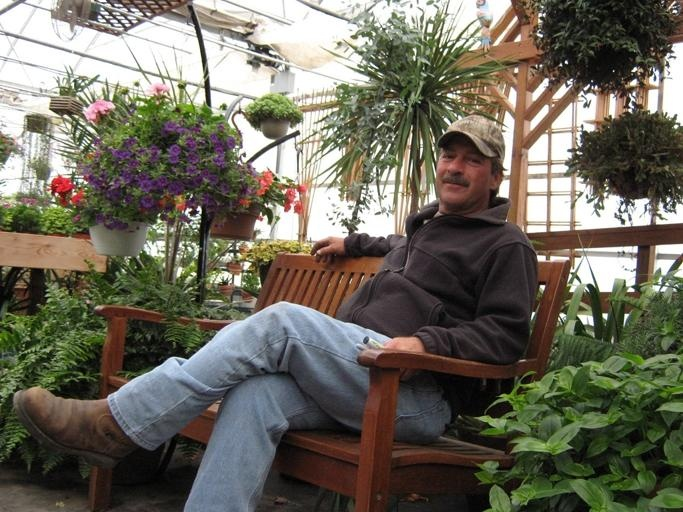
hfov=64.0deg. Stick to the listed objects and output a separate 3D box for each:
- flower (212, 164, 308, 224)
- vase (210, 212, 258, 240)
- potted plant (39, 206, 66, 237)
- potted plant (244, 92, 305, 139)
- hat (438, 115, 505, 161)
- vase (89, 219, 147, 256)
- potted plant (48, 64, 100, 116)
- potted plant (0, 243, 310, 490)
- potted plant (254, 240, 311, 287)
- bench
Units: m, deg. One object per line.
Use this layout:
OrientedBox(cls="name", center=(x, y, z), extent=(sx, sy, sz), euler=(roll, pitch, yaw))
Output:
OrientedBox(cls="flower", center=(-0.391, -0.391, 3.165), extent=(0.309, 0.158, 0.422), euler=(12, -11, 45))
OrientedBox(cls="vase", center=(-0.587, -0.152, 2.965), extent=(0.196, 0.094, 0.174), euler=(2, -4, 5))
OrientedBox(cls="potted plant", center=(-2.137, -0.261, 4.141), extent=(0.229, 0.223, 0.249), euler=(-1, 4, -17))
OrientedBox(cls="potted plant", center=(-0.489, -0.953, 3.764), extent=(0.401, 0.262, 0.326), euler=(-2, 5, -13))
OrientedBox(cls="hat", center=(0.523, -0.494, 2.170), extent=(0.274, 0.151, 0.324), euler=(15, 16, 9))
OrientedBox(cls="vase", center=(-1.138, -0.072, 2.758), extent=(0.339, 0.147, 0.302), euler=(-3, -9, -7))
OrientedBox(cls="potted plant", center=(-1.851, -1.110, 3.675), extent=(0.239, 0.197, 0.205), euler=(-3, 23, -32))
OrientedBox(cls="potted plant", center=(-0.796, 0.454, 2.236), extent=(0.743, 0.823, 1.433), euler=(10, -7, -43))
OrientedBox(cls="potted plant", center=(-0.488, -0.001, 4.101), extent=(0.509, 0.373, 0.386), euler=(3, -12, -5))
OrientedBox(cls="bench", center=(-0.022, 0.450, 1.874), extent=(1.340, 0.678, 0.784), euler=(-2, -8, 39))
